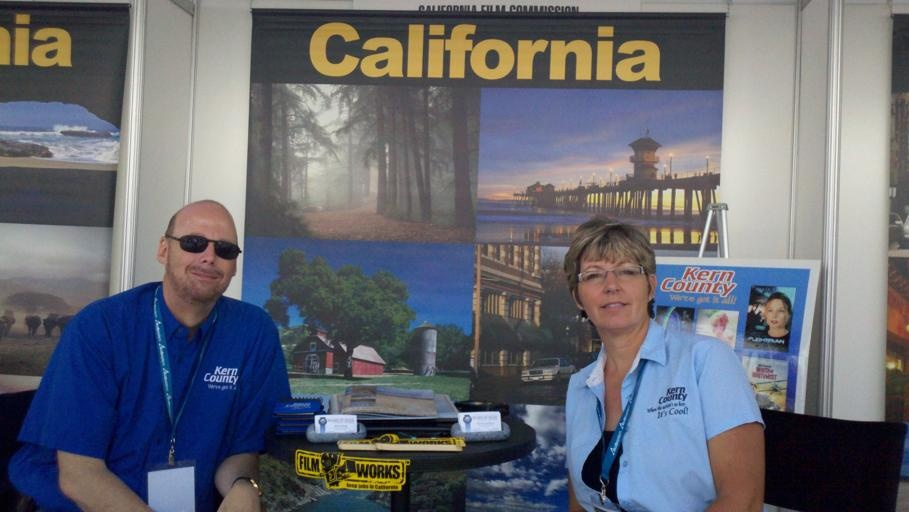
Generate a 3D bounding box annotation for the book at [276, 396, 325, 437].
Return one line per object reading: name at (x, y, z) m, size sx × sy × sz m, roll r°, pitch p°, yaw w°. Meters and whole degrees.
book at (-0.985, 1.010, 4.843) m, size 0.213 × 0.097 × 0.274 m, roll 1°, pitch 2°, yaw -1°
